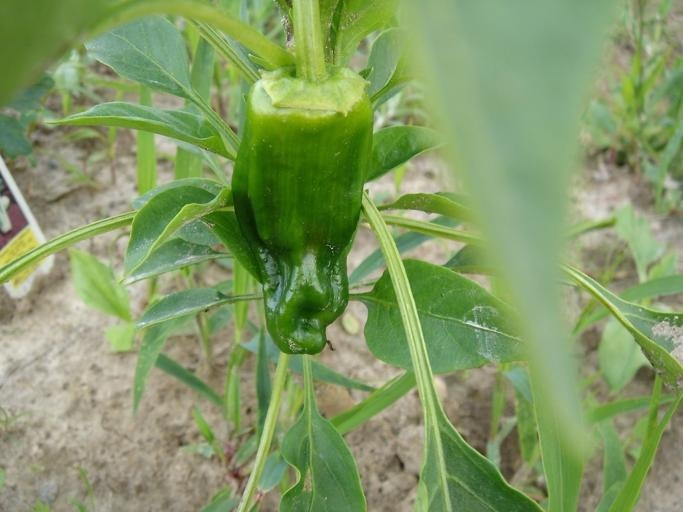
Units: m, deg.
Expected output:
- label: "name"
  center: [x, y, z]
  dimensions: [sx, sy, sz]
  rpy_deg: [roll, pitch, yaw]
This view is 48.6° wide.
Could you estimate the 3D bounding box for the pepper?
- label: "pepper"
  center: [-0.045, -0.039, 0.921]
  dimensions: [0.179, 0.334, 0.092]
  rpy_deg: [-5, 33, 1]
